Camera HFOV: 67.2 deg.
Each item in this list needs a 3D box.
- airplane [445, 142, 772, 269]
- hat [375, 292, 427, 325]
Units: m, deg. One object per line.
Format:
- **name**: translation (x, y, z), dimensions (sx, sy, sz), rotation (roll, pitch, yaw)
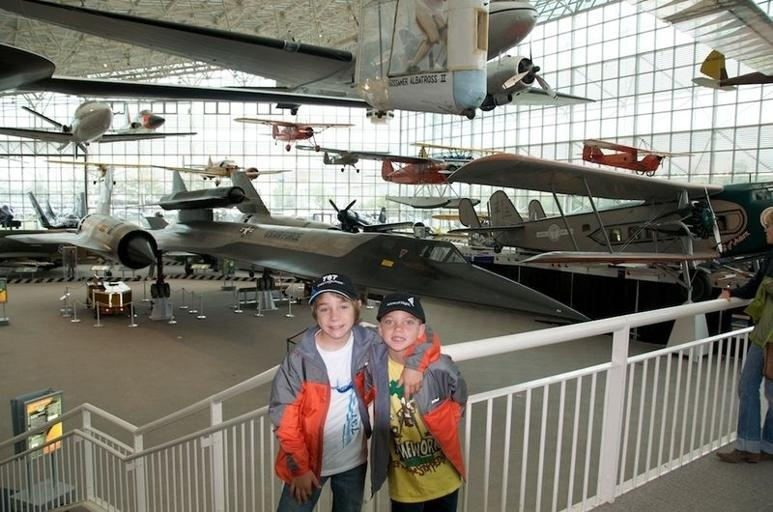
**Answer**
- **airplane**: translation (5.133, -1.174, 14.287), dimensions (5.489, 1.176, 4.592), rotation (0, 10, -35)
- **hat**: translation (0.118, 0.495, 5.619), dimensions (0.452, 0.291, 0.242), rotation (-1, 7, -3)
